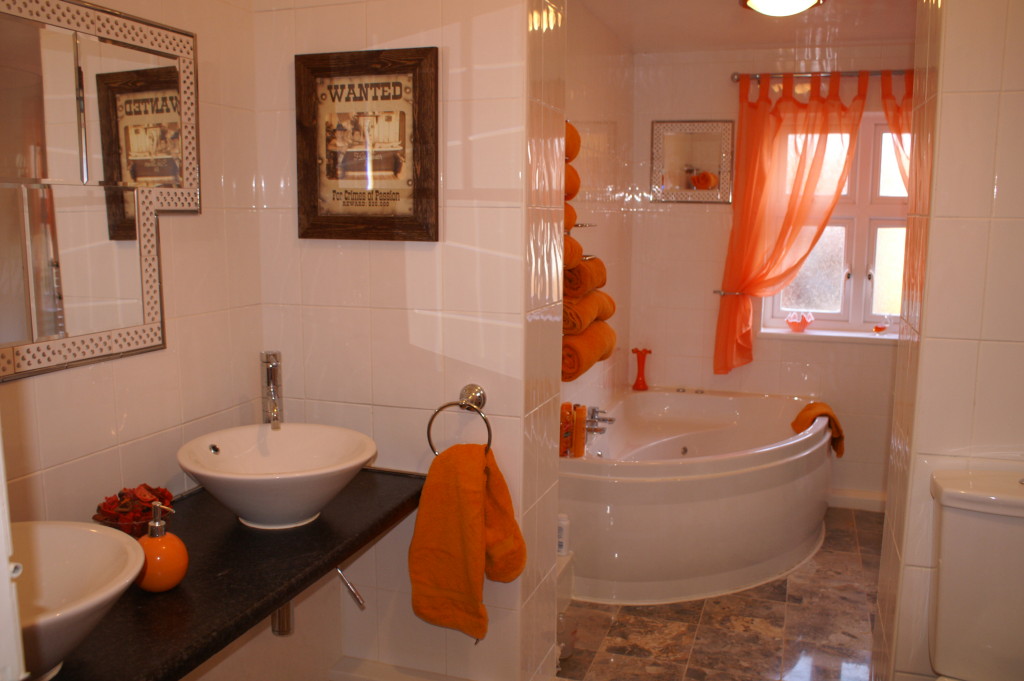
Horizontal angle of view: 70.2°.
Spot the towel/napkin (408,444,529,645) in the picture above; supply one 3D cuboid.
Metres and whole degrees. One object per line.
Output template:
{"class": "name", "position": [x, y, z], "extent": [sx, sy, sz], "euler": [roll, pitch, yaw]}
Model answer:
{"class": "towel/napkin", "position": [-0.173, 0.722, 2.725], "extent": [0.397, 0.660, 0.331], "euler": [1, 2, 35]}

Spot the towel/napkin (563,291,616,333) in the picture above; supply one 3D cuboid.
{"class": "towel/napkin", "position": [0.390, -0.168, 3.712], "extent": [0.220, 0.101, 0.229], "euler": [6, 11, 26]}

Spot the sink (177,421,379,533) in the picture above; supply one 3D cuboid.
{"class": "sink", "position": [-0.776, 0.460, 2.433], "extent": [0.599, 0.247, 0.505], "euler": [-6, 16, -21]}

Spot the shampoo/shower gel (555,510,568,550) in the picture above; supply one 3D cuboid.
{"class": "shampoo/shower gel", "position": [0.230, 0.902, 3.408], "extent": [0.040, 0.142, 0.109], "euler": [2, 14, 7]}

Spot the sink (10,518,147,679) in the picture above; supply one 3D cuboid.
{"class": "sink", "position": [-1.102, 0.603, 1.817], "extent": [0.362, 0.153, 0.369], "euler": [12, 14, 38]}

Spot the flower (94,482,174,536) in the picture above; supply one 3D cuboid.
{"class": "flower", "position": [-1.141, 0.467, 2.198], "extent": [0.169, 0.106, 0.184], "euler": [1, 3, -9]}

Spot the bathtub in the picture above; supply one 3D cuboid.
{"class": "bathtub", "position": [1.007, 0.878, 4.042], "extent": [1.413, 0.532, 1.172], "euler": [-1, 8, 14]}

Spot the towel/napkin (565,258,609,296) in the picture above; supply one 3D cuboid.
{"class": "towel/napkin", "position": [0.373, -0.314, 3.741], "extent": [0.175, 0.147, 0.227], "euler": [4, 12, 28]}

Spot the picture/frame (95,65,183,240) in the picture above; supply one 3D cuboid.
{"class": "picture/frame", "position": [-1.224, -0.621, 2.413], "extent": [0.061, 0.550, 0.321], "euler": [7, 16, 25]}

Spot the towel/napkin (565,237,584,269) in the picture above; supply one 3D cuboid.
{"class": "towel/napkin", "position": [0.295, -0.435, 3.611], "extent": [0.078, 0.136, 0.138], "euler": [-8, 6, 17]}

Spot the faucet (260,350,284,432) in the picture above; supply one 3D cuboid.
{"class": "faucet", "position": [-0.885, 0.169, 2.672], "extent": [0.070, 0.265, 0.191], "euler": [-5, 15, -20]}
